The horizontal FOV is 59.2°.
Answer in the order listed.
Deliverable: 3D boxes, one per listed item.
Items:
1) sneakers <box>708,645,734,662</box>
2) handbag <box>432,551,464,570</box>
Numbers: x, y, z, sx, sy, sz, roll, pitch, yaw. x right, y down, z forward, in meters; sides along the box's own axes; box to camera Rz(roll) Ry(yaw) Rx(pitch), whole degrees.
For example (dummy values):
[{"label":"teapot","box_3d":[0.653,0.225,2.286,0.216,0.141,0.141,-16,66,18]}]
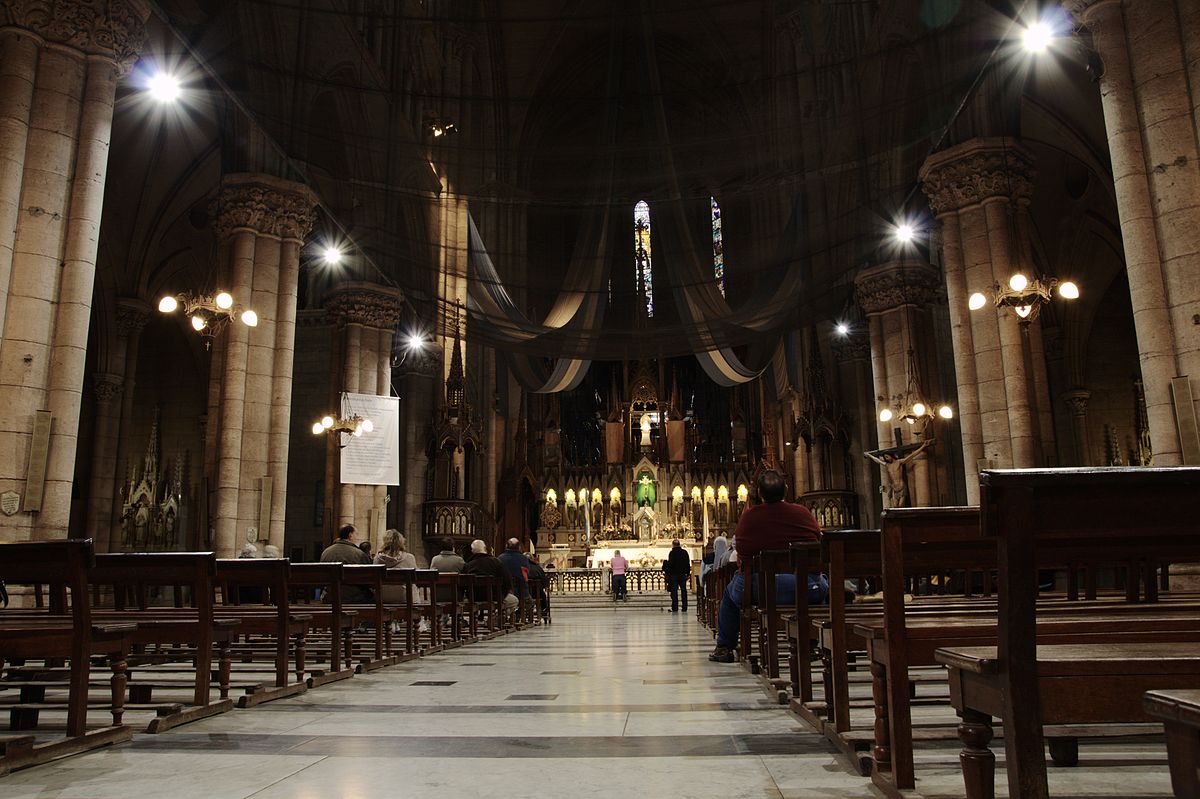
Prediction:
[{"label":"sneakers","box_3d":[1.554,3.294,13.625,0.315,0.205,0.164,6,-17,1]},{"label":"handbag","box_3d":[-2.653,2.839,18.481,0.384,0.221,0.517,3,-12,-2]}]
